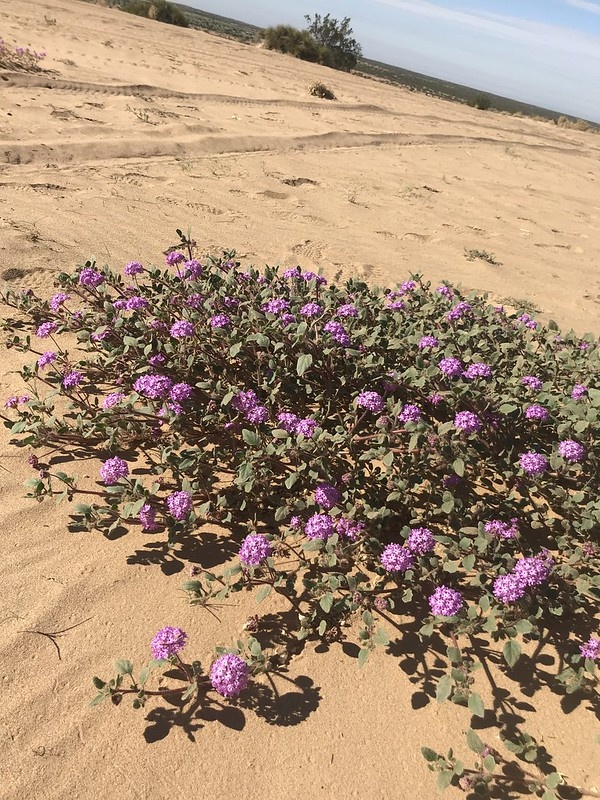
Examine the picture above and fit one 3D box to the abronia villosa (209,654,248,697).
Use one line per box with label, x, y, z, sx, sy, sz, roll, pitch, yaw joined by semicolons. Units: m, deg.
abronia villosa;-0.400;1.550;3.779;0.182;0.181;0.184;50;23;-12
